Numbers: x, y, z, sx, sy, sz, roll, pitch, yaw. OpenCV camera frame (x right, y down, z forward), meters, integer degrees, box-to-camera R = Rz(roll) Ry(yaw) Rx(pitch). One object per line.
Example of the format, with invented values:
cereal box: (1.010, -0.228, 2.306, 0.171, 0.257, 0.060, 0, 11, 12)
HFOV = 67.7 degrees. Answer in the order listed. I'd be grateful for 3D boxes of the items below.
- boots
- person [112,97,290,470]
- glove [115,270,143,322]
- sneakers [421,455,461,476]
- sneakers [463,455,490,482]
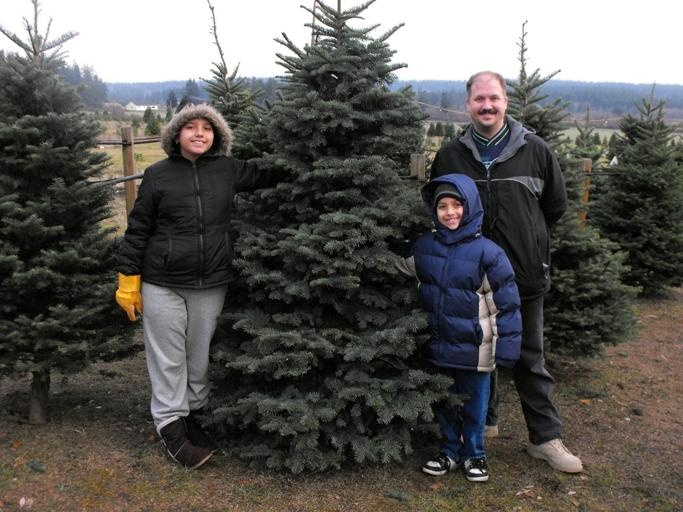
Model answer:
boots: (-1.289, 1.594, 4.331, 0.699, 0.447, 0.248, -16, 0, 32)
person: (-1.350, 0.203, 4.420, 0.744, 2.957, 0.823, 8, 12, 16)
glove: (-1.751, 0.337, 4.231, 0.200, 0.428, 0.144, -2, 13, -30)
sneakers: (0.845, 1.797, 4.387, 0.326, 0.136, 0.126, 3, 0, -20)
sneakers: (1.146, 1.812, 4.330, 0.114, 0.122, 0.293, 1, -11, -3)
